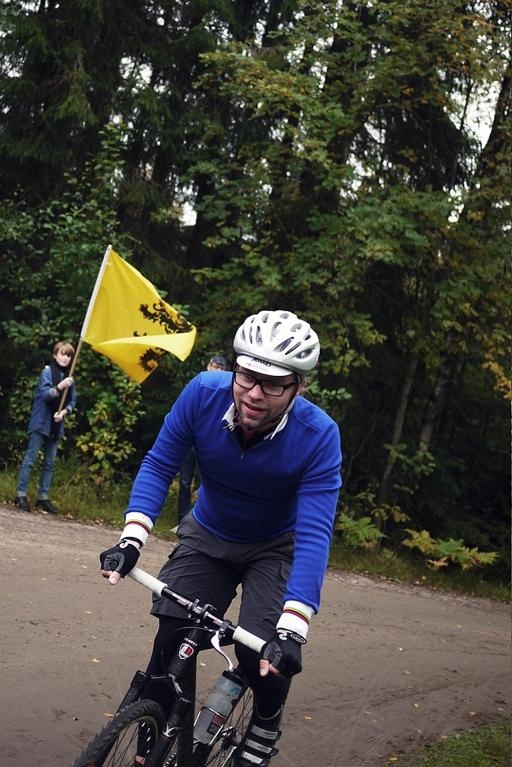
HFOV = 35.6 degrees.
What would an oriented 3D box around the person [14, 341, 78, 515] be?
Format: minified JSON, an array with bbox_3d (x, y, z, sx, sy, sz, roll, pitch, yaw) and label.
[{"bbox_3d":[-2.319,0.498,9.076,0.505,1.986,1.054,13,-3,-9],"label":"person"}]
